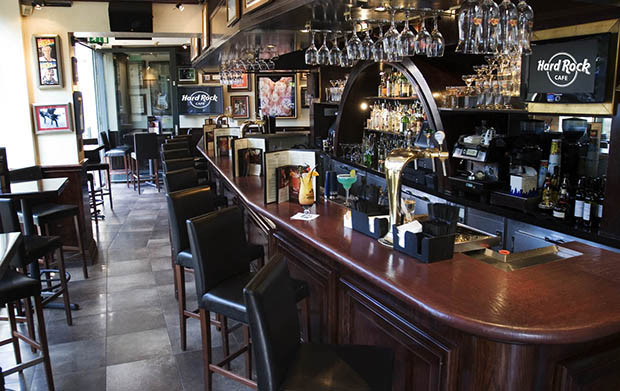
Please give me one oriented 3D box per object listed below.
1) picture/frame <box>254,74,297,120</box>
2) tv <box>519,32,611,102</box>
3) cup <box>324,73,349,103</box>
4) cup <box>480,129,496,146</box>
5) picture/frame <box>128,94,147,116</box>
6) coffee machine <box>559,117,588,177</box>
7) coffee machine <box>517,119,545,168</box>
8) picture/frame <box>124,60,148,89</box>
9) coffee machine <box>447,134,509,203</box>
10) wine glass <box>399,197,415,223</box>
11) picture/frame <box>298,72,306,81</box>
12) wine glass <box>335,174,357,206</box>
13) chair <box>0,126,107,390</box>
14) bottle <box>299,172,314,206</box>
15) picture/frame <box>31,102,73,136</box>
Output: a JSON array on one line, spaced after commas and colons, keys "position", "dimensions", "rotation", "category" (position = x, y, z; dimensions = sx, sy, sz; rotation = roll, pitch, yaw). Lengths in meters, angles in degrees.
[{"position": [-0.902, -2.485, 11.407], "dimensions": [1.526, 1.357, 0.342], "rotation": [-2, 10, -8], "category": "picture/frame"}, {"position": [2.342, -1.170, 4.161], "dimensions": [0.078, 0.493, 0.712], "rotation": [-7, 12, -34], "category": "tv"}, {"position": [0.427, -1.834, 8.066], "dimensions": [0.504, 0.541, 0.578], "rotation": [0, 8, -6], "category": "cup"}, {"position": [1.864, -0.606, 4.810], "dimensions": [0.136, 0.168, 0.178], "rotation": [-3, 13, -3], "category": "cup"}, {"position": [-4.404, -2.328, 11.697], "dimensions": [0.547, 0.638, 0.068], "rotation": [0, 14, -11], "category": "picture/frame"}, {"position": [2.673, -0.438, 4.595], "dimensions": [0.225, 0.634, 0.206], "rotation": [-19, 4, -35], "category": "coffee machine"}, {"position": [2.346, -0.540, 4.910], "dimensions": [0.254, 0.540, 0.246], "rotation": [1, 6, -5], "category": "coffee machine"}, {"position": [-4.349, -3.008, 11.552], "dimensions": [0.497, 0.657, 0.063], "rotation": [-2, 3, 2], "category": "picture/frame"}, {"position": [1.857, -0.304, 5.028], "dimensions": [0.423, 0.691, 0.582], "rotation": [-8, 12, -22], "category": "coffee machine"}, {"position": [0.742, 0.116, 3.531], "dimensions": [0.136, 0.194, 0.137], "rotation": [-1, -4, 43], "category": "wine glass"}, {"position": [-0.202, -2.945, 11.508], "dimensions": [0.191, 0.175, 0.311], "rotation": [-3, 13, -6], "category": "picture/frame"}, {"position": [0.340, -0.057, 4.208], "dimensions": [0.189, 0.273, 0.184], "rotation": [-1, 4, -20], "category": "wine glass"}, {"position": [-2.925, 0.687, 5.177], "dimensions": [0.768, 1.301, 2.526], "rotation": [-3, 13, -29], "category": "chair"}, {"position": [-0.036, -0.058, 4.310], "dimensions": [0.142, 0.297, 0.104], "rotation": [-2, 13, 0], "category": "bottle"}, {"position": [-3.581, -1.056, 6.328], "dimensions": [0.489, 0.470, 0.049], "rotation": [-2, 7, -23], "category": "picture/frame"}]
